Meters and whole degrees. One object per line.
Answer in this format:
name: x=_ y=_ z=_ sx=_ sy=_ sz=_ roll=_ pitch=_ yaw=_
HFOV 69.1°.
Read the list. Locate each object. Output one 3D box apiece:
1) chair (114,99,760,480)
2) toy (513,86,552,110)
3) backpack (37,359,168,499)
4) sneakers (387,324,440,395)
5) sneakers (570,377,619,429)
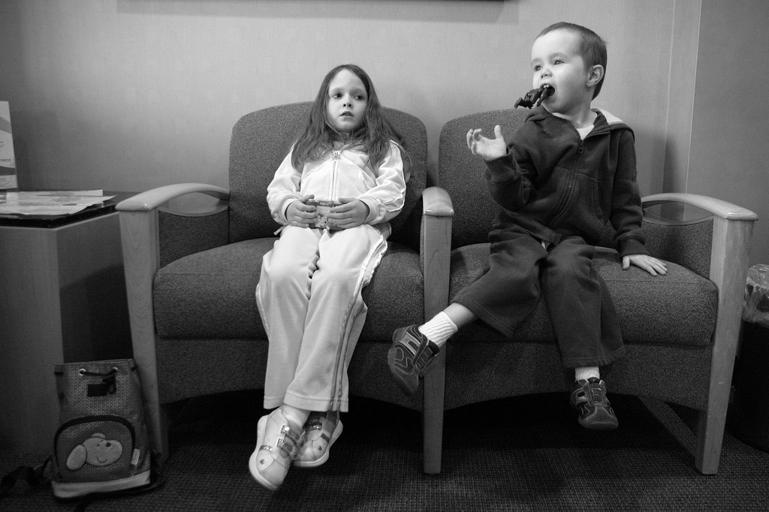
chair: x=0.170 y=0.107 z=2.040 sx=2.038 sy=1.090 sz=0.735 roll=0 pitch=15 yaw=4
toy: x=0.527 y=-0.566 z=1.982 sx=0.099 sy=0.030 sz=0.098 roll=-29 pitch=25 yaw=-11
backpack: x=-0.896 y=0.545 z=1.791 sx=0.315 sy=0.389 sz=0.204 roll=-4 pitch=16 yaw=-13
sneakers: x=0.078 y=0.295 z=1.791 sx=0.123 sy=0.097 sz=0.273 roll=-26 pitch=29 yaw=3
sneakers: x=0.641 y=0.443 z=1.714 sx=0.095 sy=0.084 sz=0.197 roll=0 pitch=9 yaw=2
